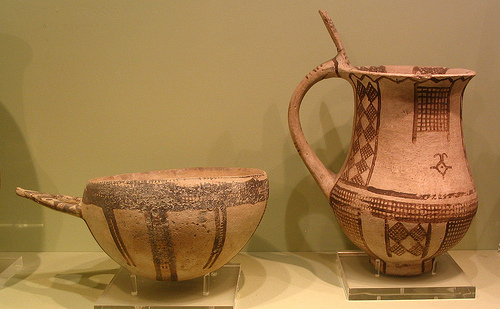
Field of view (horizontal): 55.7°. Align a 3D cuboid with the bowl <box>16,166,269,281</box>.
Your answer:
[{"bbox_3d":[-0.306,0.192,1.459,0.644,0.222,0.379,-1,-10,9],"label":"bowl"}]
